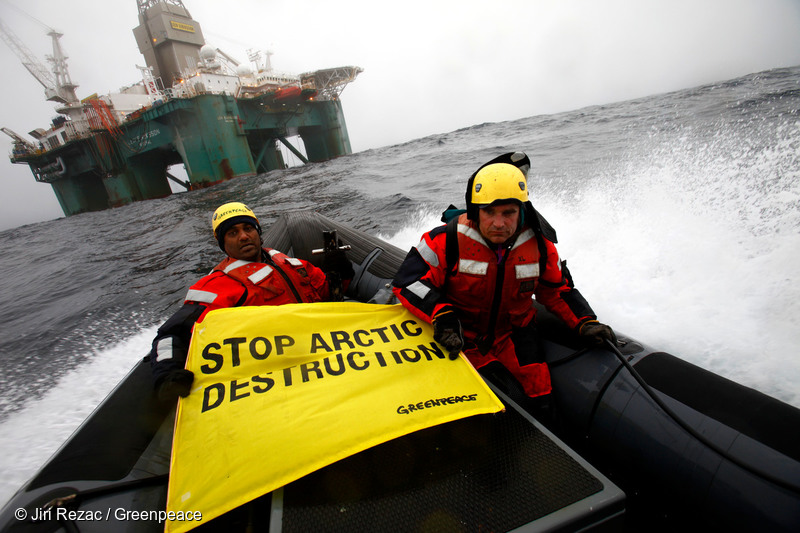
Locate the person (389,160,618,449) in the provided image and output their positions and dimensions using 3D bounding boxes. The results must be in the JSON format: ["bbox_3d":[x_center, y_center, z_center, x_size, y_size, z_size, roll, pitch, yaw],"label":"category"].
[{"bbox_3d":[0.668,0.387,3.162,1.304,2.039,1.109,-4,17,-2],"label":"person"}]

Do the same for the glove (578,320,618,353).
[{"bbox_3d":[1.256,0.452,3.053,0.164,0.095,0.206,10,28,-32],"label":"glove"}]

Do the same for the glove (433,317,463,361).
[{"bbox_3d":[0.312,0.454,2.981,0.183,0.243,0.099,-8,-20,-3],"label":"glove"}]
